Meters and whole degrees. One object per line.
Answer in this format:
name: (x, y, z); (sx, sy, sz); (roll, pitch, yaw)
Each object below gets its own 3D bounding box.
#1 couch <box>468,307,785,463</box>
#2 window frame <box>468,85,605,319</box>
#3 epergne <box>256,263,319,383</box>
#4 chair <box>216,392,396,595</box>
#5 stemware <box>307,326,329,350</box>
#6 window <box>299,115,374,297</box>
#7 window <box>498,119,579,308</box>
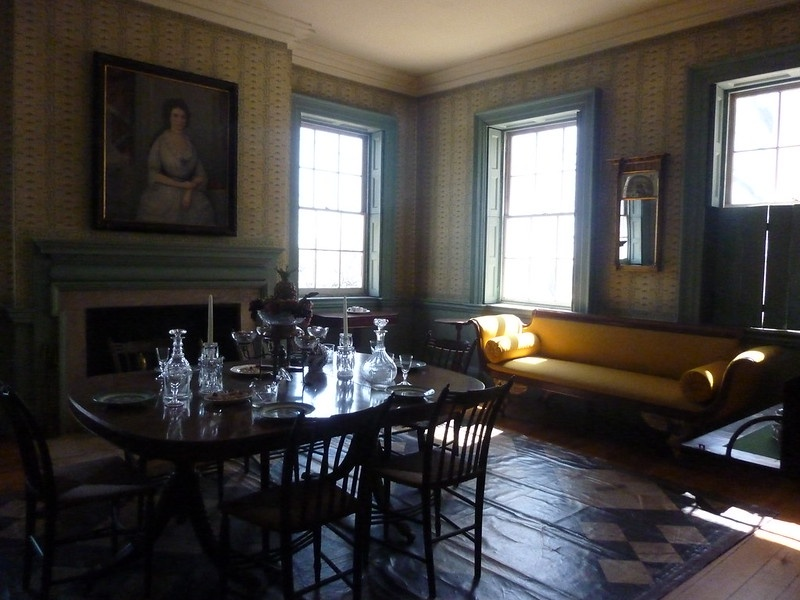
couch: (1.938, 0.666, 6.105); (2.709, 0.878, 0.882); (7, 13, 42)
window frame: (1.491, -1.045, 7.131); (1.742, 2.343, 0.482); (13, 17, 43)
epergne: (-0.771, 0.149, 4.299); (0.454, 0.700, 0.498); (9, -12, -38)
chair: (-0.499, 1.000, 3.776); (0.881, 1.170, 1.255); (1, 12, -1)
stemware: (-0.587, 0.266, 4.494); (0.155, 0.131, 0.152); (1, 4, 27)
window: (-0.764, -1.040, 7.802); (0.138, 2.001, 1.161); (3, 5, 39)
window: (1.528, -0.936, 7.339); (1.074, 2.002, 0.086); (-6, 13, -24)
